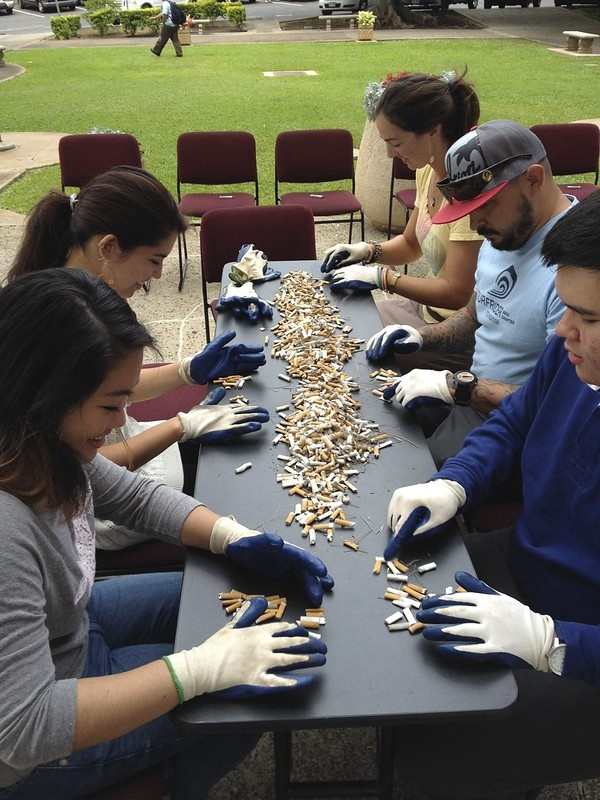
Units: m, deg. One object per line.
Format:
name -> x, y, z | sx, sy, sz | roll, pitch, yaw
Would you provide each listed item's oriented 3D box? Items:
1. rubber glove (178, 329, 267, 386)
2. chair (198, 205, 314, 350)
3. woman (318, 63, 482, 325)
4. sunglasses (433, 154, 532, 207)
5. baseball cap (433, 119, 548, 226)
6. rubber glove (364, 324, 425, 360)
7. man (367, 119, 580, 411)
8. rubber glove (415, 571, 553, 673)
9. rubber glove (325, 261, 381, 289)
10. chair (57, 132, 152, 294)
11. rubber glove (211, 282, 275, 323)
rubber glove -> -0.329, -0.178, 2.833 | 0.479, 0.245, 0.132 | -7, 0, 24
chair -> -0.393, -0.755, 4.077 | 0.517, 0.768, 0.418 | 3, 43, -3
woman -> 0.550, -0.989, 3.497 | 0.862, 1.293, 0.766 | 15, 39, 31
sunglasses -> 0.686, -0.777, 2.424 | 0.217, 0.057, 0.167 | -28, 13, 9
baseball cap -> 0.664, -0.830, 2.480 | 0.435, 0.230, 0.315 | -35, 25, 5
rubber glove -> 0.386, -0.238, 2.749 | 0.157, 0.077, 0.216 | -20, 0, 26
man -> 0.732, -0.525, 2.674 | 0.922, 1.145, 0.792 | -3, 22, 3
rubber glove -> 0.448, 0.504, 1.505 | 0.336, 0.121, 0.199 | 10, 43, 13
rubber glove -> 0.278, -0.608, 3.298 | 0.204, 0.075, 0.148 | -6, 33, 17
chair -> -1.720, -1.648, 5.931 | 0.784, 1.312, 0.799 | -6, 17, -10
rubber glove -> -0.259, -0.466, 3.148 | 0.276, 0.084, 0.260 | -1, 37, 6
